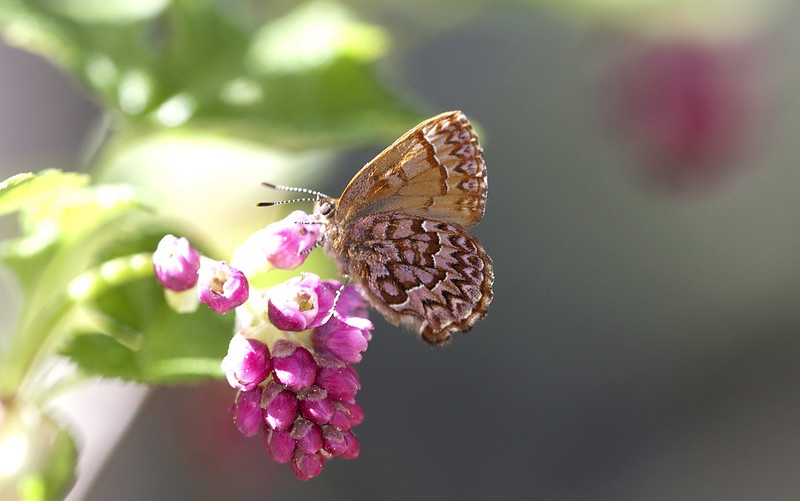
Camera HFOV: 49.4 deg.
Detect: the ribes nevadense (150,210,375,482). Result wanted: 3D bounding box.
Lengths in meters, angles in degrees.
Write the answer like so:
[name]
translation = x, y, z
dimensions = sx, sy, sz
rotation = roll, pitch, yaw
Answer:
[ribes nevadense]
translation = -0.441, 0.299, 2.921
dimensions = 0.691, 0.815, 0.401
rotation = 1, 10, 15
